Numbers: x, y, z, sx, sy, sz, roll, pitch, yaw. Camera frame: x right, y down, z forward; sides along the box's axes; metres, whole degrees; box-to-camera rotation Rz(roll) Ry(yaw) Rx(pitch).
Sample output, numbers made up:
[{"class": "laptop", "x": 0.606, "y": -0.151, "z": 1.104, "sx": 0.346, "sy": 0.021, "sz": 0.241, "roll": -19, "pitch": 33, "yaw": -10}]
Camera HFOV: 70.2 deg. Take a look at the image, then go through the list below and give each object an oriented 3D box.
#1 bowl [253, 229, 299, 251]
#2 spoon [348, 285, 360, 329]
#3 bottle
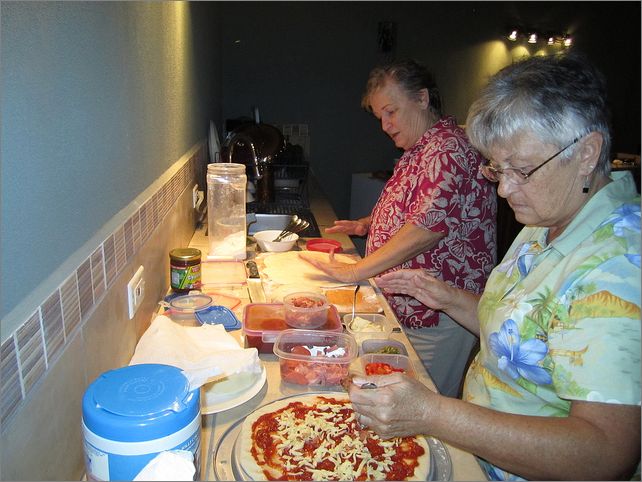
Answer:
[{"class": "bowl", "x": -0.244, "y": 0.004, "z": 2.427, "sx": 0.226, "sy": 0.076, "sz": 0.215, "roll": 2, "pitch": 18, "yaw": -1}, {"class": "spoon", "x": 0.128, "y": 0.244, "z": 1.748, "sx": 0.029, "sy": 0.024, "sz": 0.170, "roll": -12, "pitch": 42, "yaw": 30}, {"class": "bottle", "x": -0.469, "y": -0.149, "z": 2.251, "sx": 0.185, "sy": 0.440, "sz": 0.206, "roll": -1, "pitch": 17, "yaw": -11}]
